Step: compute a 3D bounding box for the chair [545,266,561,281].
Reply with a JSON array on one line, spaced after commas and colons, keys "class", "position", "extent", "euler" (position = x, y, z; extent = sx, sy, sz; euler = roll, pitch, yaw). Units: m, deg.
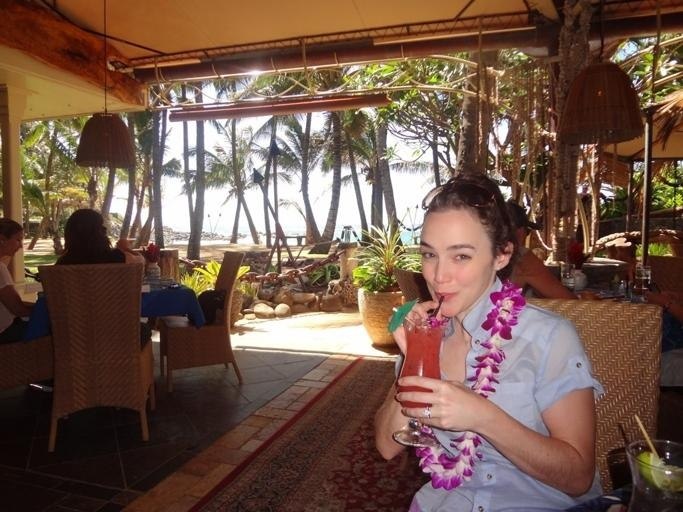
[{"class": "chair", "position": [1.646, 0.138, 3.836], "extent": [0.126, 0.132, 0.128], "euler": [-1, -2, 9]}]

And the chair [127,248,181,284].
[{"class": "chair", "position": [-2.167, 0.113, 5.650], "extent": [0.505, 0.326, 0.516], "euler": [0, 5, 6]}]

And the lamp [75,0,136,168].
[{"class": "lamp", "position": [-2.657, -1.876, 5.392], "extent": [0.595, 1.775, 0.663], "euler": [-3, 9, -26]}]
